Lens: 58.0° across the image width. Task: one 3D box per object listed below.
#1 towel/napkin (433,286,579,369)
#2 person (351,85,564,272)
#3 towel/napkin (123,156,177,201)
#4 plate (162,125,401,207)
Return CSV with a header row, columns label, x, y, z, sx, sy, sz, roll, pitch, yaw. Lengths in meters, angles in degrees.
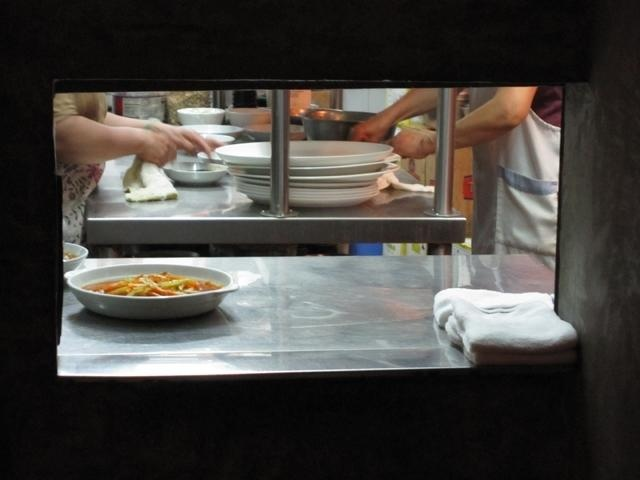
label,x,y,z,sx,sy,sz,roll,pitch,yaw
towel/napkin,0.279,0.130,0.847,0.122,0.037,0.121,-1,10,-5
person,0.586,-0.233,2.081,0.488,0.679,0.716,3,9,29
towel/napkin,-0.516,-0.186,1.737,0.137,0.082,0.255,-11,24,-23
plate,-0.018,-0.174,1.517,0.484,0.180,0.294,-2,8,-9
